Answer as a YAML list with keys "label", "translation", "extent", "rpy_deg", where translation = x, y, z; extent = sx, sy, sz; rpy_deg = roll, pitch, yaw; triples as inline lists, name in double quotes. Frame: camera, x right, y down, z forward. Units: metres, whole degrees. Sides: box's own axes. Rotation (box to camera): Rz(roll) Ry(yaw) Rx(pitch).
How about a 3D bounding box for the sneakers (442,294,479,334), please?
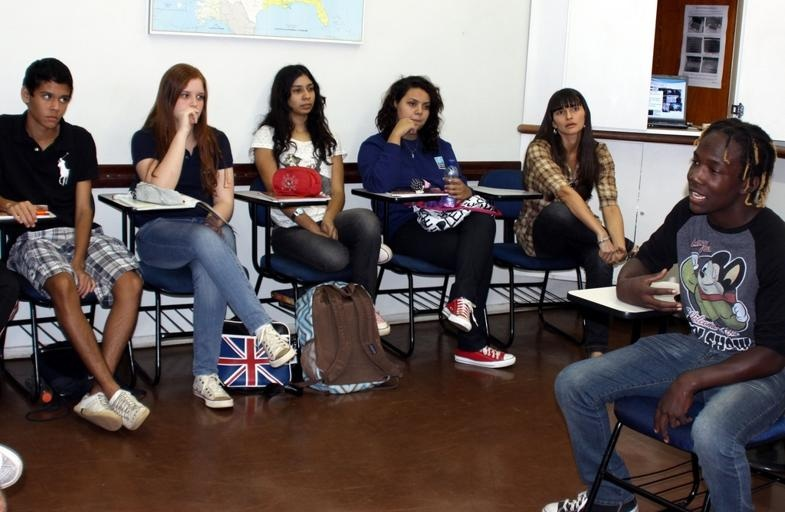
- label: "sneakers"
  translation: [0.427, 0.353, 3.567]
  extent: [0.120, 0.138, 0.326]
  rpy_deg: [38, -5, -18]

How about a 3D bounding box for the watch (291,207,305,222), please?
- label: "watch"
  translation: [-0.602, -0.262, 3.598]
  extent: [0.062, 0.083, 0.043]
  rpy_deg: [19, 1, -1]

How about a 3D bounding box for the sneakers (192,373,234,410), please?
- label: "sneakers"
  translation: [-1.011, 0.743, 3.193]
  extent: [0.115, 0.122, 0.303]
  rpy_deg: [-3, 7, -38]

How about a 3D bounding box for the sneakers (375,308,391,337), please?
- label: "sneakers"
  translation: [-0.085, 0.433, 3.754]
  extent: [0.082, 0.082, 0.222]
  rpy_deg: [-5, 15, -18]

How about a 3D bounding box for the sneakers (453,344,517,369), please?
- label: "sneakers"
  translation: [0.596, 0.623, 3.706]
  extent: [0.393, 0.155, 0.146]
  rpy_deg: [1, 7, 12]

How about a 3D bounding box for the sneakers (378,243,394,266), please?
- label: "sneakers"
  translation: [-0.052, -0.009, 3.661]
  extent: [0.128, 0.141, 0.077]
  rpy_deg: [8, -9, -30]

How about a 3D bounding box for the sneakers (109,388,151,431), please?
- label: "sneakers"
  translation: [-1.320, 0.774, 2.878]
  extent: [0.257, 0.134, 0.102]
  rpy_deg: [39, -18, 20]

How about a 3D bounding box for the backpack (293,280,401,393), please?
- label: "backpack"
  translation: [-0.298, 0.489, 3.372]
  extent: [0.574, 0.588, 0.338]
  rpy_deg: [-4, -9, -28]

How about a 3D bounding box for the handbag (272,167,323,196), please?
- label: "handbag"
  translation: [-0.577, -0.403, 3.478]
  extent: [0.256, 0.160, 0.193]
  rpy_deg: [0, 2, 17]

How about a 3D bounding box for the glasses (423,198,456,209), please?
- label: "glasses"
  translation: [0.310, -0.340, 3.677]
  extent: [0.096, 0.047, 0.128]
  rpy_deg: [0, 1, -16]

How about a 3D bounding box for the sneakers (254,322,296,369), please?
- label: "sneakers"
  translation: [-0.682, 0.475, 3.239]
  extent: [0.145, 0.127, 0.316]
  rpy_deg: [-35, 28, -11]
